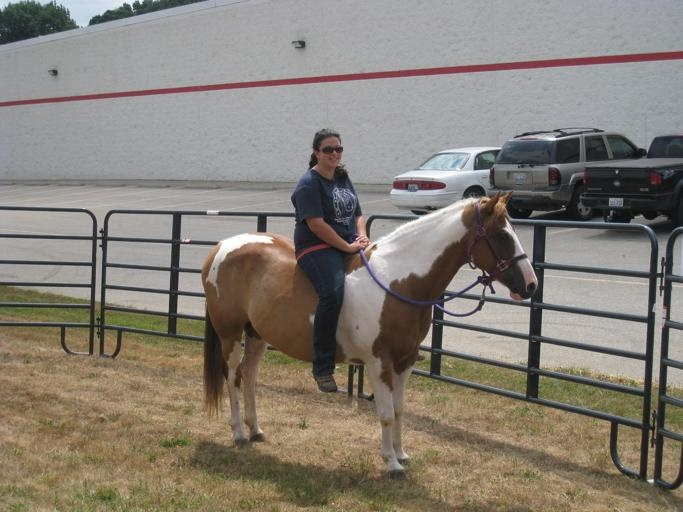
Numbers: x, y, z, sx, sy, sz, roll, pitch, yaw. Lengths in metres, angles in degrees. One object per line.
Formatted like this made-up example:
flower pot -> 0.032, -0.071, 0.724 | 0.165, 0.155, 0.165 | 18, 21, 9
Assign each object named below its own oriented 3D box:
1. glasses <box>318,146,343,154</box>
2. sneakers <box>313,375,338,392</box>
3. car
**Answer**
glasses -> -0.097, -1.254, 10.454 | 0.270, 0.102, 0.108 | -11, 15, -35
sneakers -> -0.184, 1.501, 10.318 | 0.229, 0.272, 0.292 | -3, 12, -5
car -> 2.777, -1.790, 22.834 | 1.476, 1.178, 3.608 | 5, 18, 42
